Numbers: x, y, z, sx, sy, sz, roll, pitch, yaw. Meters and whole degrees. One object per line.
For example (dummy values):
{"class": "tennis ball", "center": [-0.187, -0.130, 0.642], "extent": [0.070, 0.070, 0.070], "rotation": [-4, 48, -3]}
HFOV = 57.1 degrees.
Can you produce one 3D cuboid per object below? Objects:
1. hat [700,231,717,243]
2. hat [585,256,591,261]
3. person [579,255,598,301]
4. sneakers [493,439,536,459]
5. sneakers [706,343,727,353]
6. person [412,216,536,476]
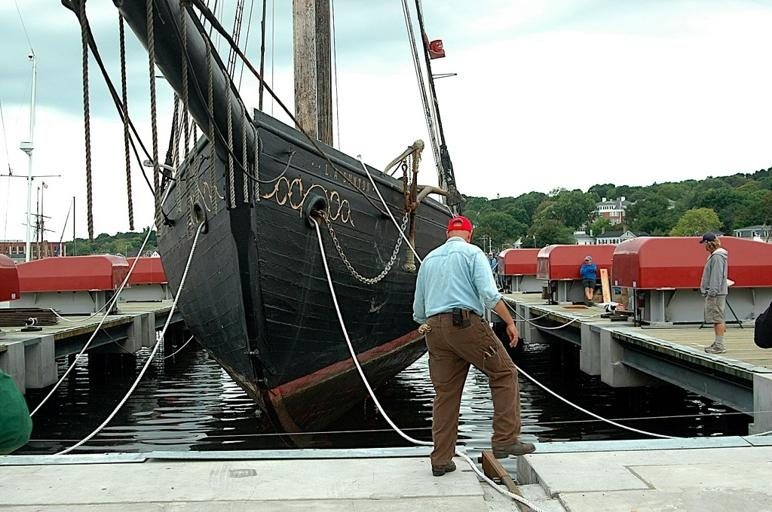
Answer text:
{"class": "hat", "center": [4.352, -0.245, 9.526], "extent": [0.136, 0.096, 0.177], "rotation": [-4, 13, 12]}
{"class": "hat", "center": [4.434, 0.065, 15.541], "extent": [0.113, 0.089, 0.123], "rotation": [16, 11, 12]}
{"class": "person", "center": [4.448, 0.508, 15.666], "extent": [0.354, 0.997, 0.879], "rotation": [0, 7, 14]}
{"class": "sneakers", "center": [1.066, 1.627, 6.071], "extent": [0.412, 0.178, 0.142], "rotation": [-5, 5, -15]}
{"class": "sneakers", "center": [4.170, 1.156, 8.962], "extent": [0.320, 0.141, 0.118], "rotation": [1, 1, 6]}
{"class": "person", "center": [0.722, 0.804, 6.068], "extent": [0.845, 1.884, 0.703], "rotation": [-3, 7, -7]}
